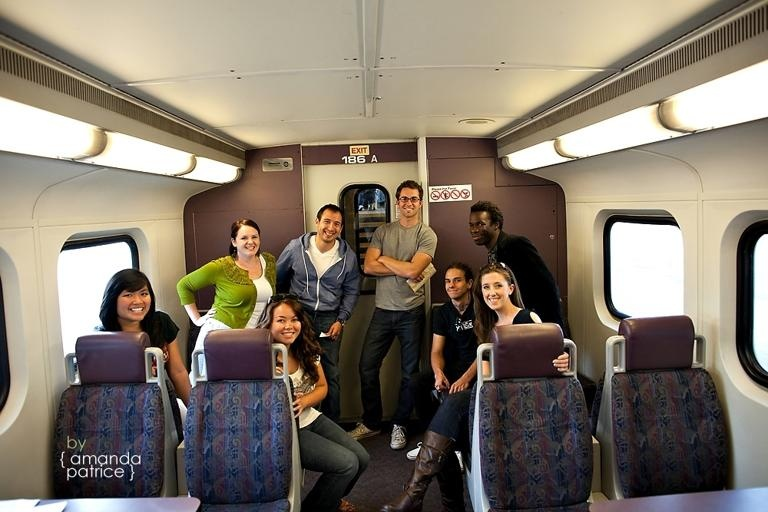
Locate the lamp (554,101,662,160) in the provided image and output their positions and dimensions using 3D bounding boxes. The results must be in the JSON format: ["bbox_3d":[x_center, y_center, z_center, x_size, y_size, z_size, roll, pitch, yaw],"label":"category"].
[{"bbox_3d":[1.716,-0.908,4.158,0.370,0.160,1.248,0,0,-13],"label":"lamp"}]

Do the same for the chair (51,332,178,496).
[{"bbox_3d":[-2.067,1.329,4.296,0.992,1.251,1.203,3,-16,-29],"label":"chair"}]

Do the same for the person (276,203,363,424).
[{"bbox_3d":[-0.750,0.700,5.766,0.868,2.358,0.626,4,5,2],"label":"person"}]

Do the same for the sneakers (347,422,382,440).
[{"bbox_3d":[-0.221,1.908,5.979,0.418,0.185,0.155,9,-19,-29],"label":"sneakers"}]

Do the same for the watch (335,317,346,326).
[{"bbox_3d":[-0.440,0.673,5.681,0.070,0.045,0.089,9,-6,3],"label":"watch"}]

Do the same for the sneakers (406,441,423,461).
[{"bbox_3d":[0.303,1.849,5.258,0.164,0.185,0.454,6,-15,9],"label":"sneakers"}]

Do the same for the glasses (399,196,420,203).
[{"bbox_3d":[0.274,-0.584,5.631,0.216,0.055,0.101,0,0,-15],"label":"glasses"}]
